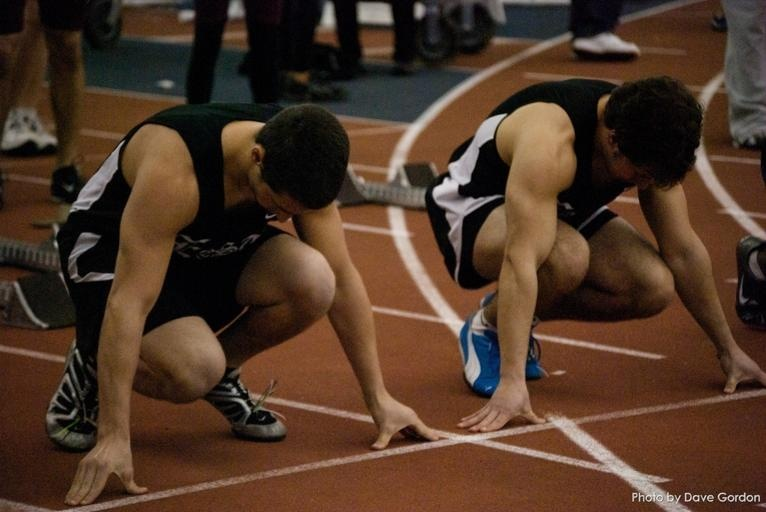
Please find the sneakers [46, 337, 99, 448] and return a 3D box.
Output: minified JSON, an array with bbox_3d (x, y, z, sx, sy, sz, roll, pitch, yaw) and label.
[{"bbox_3d":[-1.110,0.485,2.944,0.154,0.451,0.202,12,-6,-44],"label":"sneakers"}]
